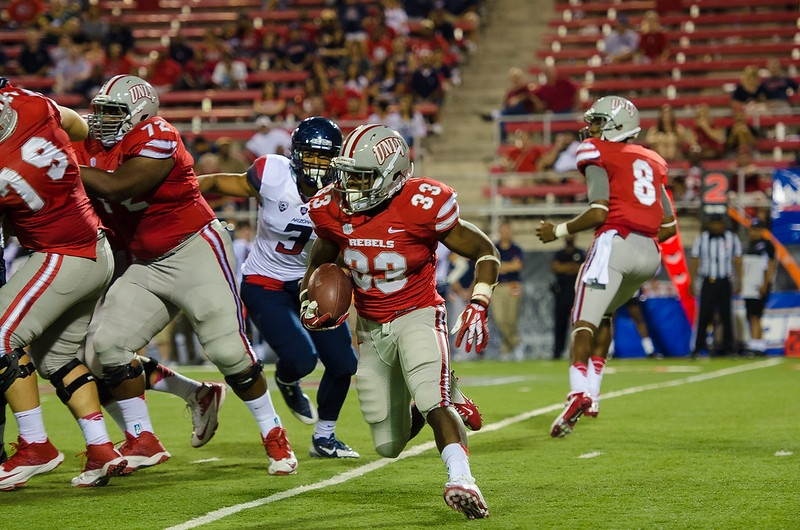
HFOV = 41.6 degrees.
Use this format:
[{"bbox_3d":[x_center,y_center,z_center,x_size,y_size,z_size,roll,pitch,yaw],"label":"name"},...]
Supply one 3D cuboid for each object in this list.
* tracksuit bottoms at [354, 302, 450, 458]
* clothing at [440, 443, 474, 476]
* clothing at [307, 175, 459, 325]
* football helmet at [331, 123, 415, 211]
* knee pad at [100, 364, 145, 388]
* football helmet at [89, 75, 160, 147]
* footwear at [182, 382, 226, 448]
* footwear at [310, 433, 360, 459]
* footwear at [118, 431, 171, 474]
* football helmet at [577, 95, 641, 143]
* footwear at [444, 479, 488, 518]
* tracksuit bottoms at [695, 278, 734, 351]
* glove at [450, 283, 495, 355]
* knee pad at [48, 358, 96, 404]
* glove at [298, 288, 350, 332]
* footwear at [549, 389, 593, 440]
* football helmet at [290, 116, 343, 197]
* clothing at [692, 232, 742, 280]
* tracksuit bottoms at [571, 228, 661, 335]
[{"bbox_3d":[0.082,0.765,6.915,0.611,0.930,0.506,-9,3,12],"label":"tracksuit bottoms"},{"bbox_3d":[0.350,1.199,6.453,0.163,0.212,0.171,-1,0,-1],"label":"clothing"},{"bbox_3d":[-0.129,-0.097,7.007,1.131,1.027,0.597,1,-12,12],"label":"clothing"},{"bbox_3d":[-0.174,-0.671,6.903,0.459,0.501,0.583,16,27,42],"label":"football helmet"},{"bbox_3d":[-1.941,0.753,7.416,0.162,0.087,0.222,-10,4,24],"label":"knee pad"},{"bbox_3d":[-1.933,-1.141,7.461,0.514,0.453,0.405,-20,27,-40],"label":"football helmet"},{"bbox_3d":[-1.488,1.076,8.000,0.279,0.568,0.191,14,-1,-36],"label":"footwear"},{"bbox_3d":[-0.507,1.382,8.051,0.437,0.197,0.154,4,-8,4],"label":"footwear"},{"bbox_3d":[-1.854,1.291,7.489,0.419,0.296,0.152,-13,19,2],"label":"footwear"},{"bbox_3d":[1.773,-1.217,8.741,0.520,0.410,0.389,-4,12,-10],"label":"football helmet"},{"bbox_3d":[0.414,1.414,6.402,0.292,0.129,0.170,33,-16,-23],"label":"footwear"},{"bbox_3d":[3.752,0.601,12.484,0.445,0.897,0.327,-1,1,18],"label":"tracksuit bottoms"},{"bbox_3d":[0.475,0.397,6.713,0.302,0.427,0.134,-1,42,-1],"label":"glove"},{"bbox_3d":[-2.259,0.831,7.329,0.309,0.239,0.163,42,-14,9],"label":"knee pad"},{"bbox_3d":[-0.459,0.278,6.804,0.309,0.191,0.241,16,-26,48],"label":"glove"},{"bbox_3d":[1.321,1.129,7.995,0.350,0.329,0.191,-1,0,-8],"label":"footwear"},{"bbox_3d":[-0.613,-0.810,7.686,0.412,0.565,0.540,-1,9,-5],"label":"football helmet"},{"bbox_3d":[3.815,-0.107,12.523,0.537,0.520,0.285,-1,-6,8],"label":"clothing"},{"bbox_3d":[1.740,0.111,8.462,0.727,0.781,0.329,-1,1,-29],"label":"tracksuit bottoms"}]
